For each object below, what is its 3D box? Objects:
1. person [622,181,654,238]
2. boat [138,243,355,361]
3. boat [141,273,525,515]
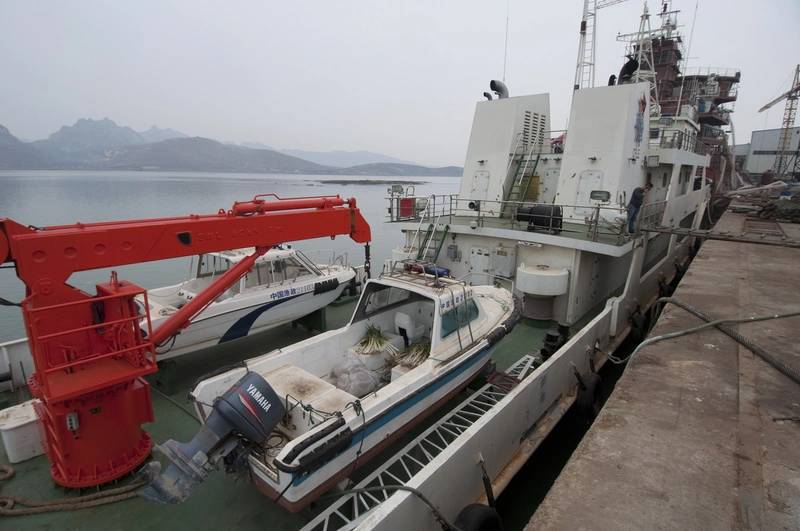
[{"bbox_3d":[5.561,-1.331,10.535,0.415,1.164,1.057,7,15,28],"label":"person"},{"bbox_3d":[-3.075,0.531,10.406,5.013,1.845,1.673,-14,13,-37],"label":"boat"},{"bbox_3d":[-1.073,2.126,7.353,1.900,1.973,5.356,18,27,36],"label":"boat"}]
